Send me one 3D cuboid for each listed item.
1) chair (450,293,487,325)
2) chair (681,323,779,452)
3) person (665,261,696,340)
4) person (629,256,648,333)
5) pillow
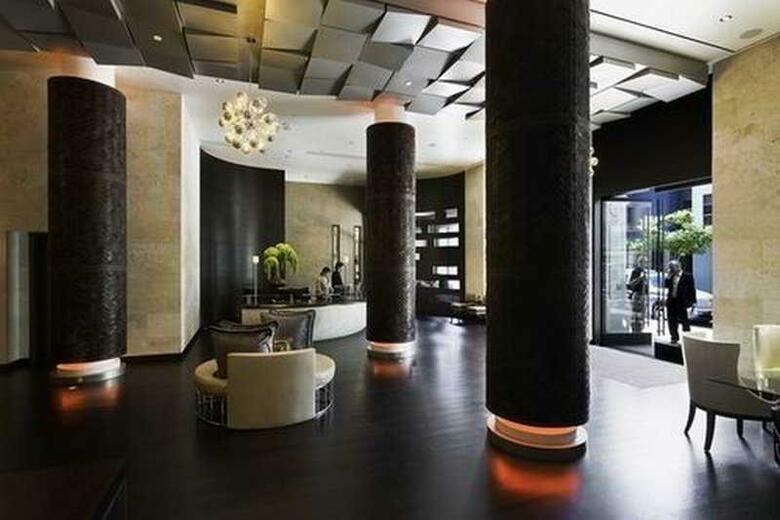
[{"bbox_3d":[2.354,1.491,15.349,0.940,1.082,0.813,4,-6,-28],"label":"chair"},{"bbox_3d":[4.897,1.758,7.647,1.458,1.931,1.438,-1,-1,0],"label":"chair"},{"bbox_3d":[6.097,0.870,10.837,0.511,1.718,0.763,0,0,27],"label":"person"},{"bbox_3d":[5.565,0.769,11.585,0.366,1.716,0.283,0,0,20],"label":"person"},{"bbox_3d":[-1.971,1.321,8.075,1.174,0.483,1.152,-2,0,-16],"label":"pillow"}]
